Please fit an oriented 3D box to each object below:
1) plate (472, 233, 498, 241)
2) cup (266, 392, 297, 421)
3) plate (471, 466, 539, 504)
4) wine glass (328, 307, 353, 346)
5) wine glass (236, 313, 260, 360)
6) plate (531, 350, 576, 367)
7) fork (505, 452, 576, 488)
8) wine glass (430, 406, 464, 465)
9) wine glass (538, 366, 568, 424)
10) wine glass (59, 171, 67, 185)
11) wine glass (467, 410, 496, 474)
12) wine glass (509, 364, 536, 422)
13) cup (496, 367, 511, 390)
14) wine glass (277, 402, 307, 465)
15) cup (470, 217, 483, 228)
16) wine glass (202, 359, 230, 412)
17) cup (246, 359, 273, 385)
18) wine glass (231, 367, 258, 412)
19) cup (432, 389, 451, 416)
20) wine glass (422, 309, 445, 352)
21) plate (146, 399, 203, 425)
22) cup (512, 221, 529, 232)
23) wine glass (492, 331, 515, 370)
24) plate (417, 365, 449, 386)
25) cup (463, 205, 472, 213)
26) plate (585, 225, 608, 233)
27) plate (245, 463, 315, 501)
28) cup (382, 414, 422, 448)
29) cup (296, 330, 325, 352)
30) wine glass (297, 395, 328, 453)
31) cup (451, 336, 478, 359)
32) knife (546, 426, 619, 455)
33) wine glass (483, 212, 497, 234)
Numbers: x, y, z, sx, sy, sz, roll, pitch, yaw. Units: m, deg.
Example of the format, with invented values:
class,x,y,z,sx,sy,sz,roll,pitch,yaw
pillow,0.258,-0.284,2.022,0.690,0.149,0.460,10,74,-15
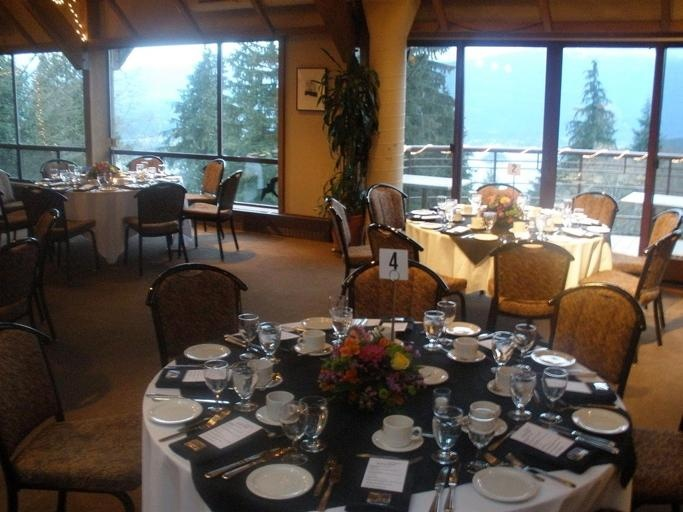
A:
class,x,y,z,sx,sy,sz,roll,pitch,yaw
plate,1.164,-0.155,4.259,0.214,0.026,0.169,3,14,17
cup,-0.207,0.515,1.779,0.095,0.090,0.125,0,9,0
plate,0.499,0.687,1.577,0.206,0.042,0.123,-1,13,-1
wine glass,-0.006,0.300,2.338,0.091,0.179,0.158,-2,13,-2
wine glass,-0.413,0.341,2.324,0.085,0.184,0.347,-4,13,-11
plate,0.922,0.447,2.291,0.095,0.017,0.096,3,10,36
fork,0.609,0.667,1.635,0.031,0.034,0.238,-5,3,-39
wine glass,0.328,0.555,1.651,0.103,0.154,0.094,6,-6,-21
wine glass,0.801,0.493,1.967,0.088,0.163,0.264,5,14,24
wine glass,-3.421,-0.968,6.395,0.043,0.133,0.098,-11,-13,-9
wine glass,0.456,0.551,1.704,0.100,0.201,0.230,2,13,15
wine glass,0.646,0.488,1.876,0.097,0.156,0.104,4,-4,19
cup,0.635,0.477,2.053,0.054,0.088,0.065,3,14,16
wine glass,-0.156,0.543,1.702,0.082,0.199,0.151,-2,13,-5
cup,1.197,-0.299,4.602,0.076,0.073,0.102,1,3,24
wine glass,-0.479,0.462,1.985,0.085,0.172,0.222,-5,14,-15
cup,-0.321,0.455,2.006,0.096,0.078,0.097,1,6,0
wine glass,-0.351,0.476,1.908,0.098,0.148,0.092,2,-2,-14
cup,0.334,0.483,1.758,0.078,0.091,0.084,1,8,0
wine glass,0.413,0.332,2.361,0.109,0.162,0.100,-1,4,-39
plate,-0.613,0.569,1.919,0.199,0.024,0.160,2,13,14
cup,1.504,-0.249,4.374,0.086,0.082,0.115,1,3,8
wine glass,0.659,0.403,2.154,0.094,0.141,0.088,3,11,22
plate,0.370,0.487,2.134,0.118,0.018,0.116,-7,16,-23
cup,1.251,-0.471,5.197,0.070,0.068,0.072,-1,8,0
plate,2.218,-0.227,4.518,0.185,0.028,0.263,4,14,20
plate,-0.189,0.680,1.580,0.210,0.021,0.212,3,5,-9
cup,0.193,0.595,1.756,0.102,0.082,0.122,-1,5,-30
cup,-0.147,0.378,2.376,0.106,0.076,0.082,1,14,12
wine glass,-0.092,0.540,1.697,0.102,0.151,0.102,2,1,24
cup,0.544,0.392,2.290,0.076,0.070,0.098,-4,10,-9
knife,0.821,0.619,1.802,0.245,0.020,0.065,15,43,39
wine glass,1.265,-0.303,4.457,0.102,0.176,0.229,3,14,19
